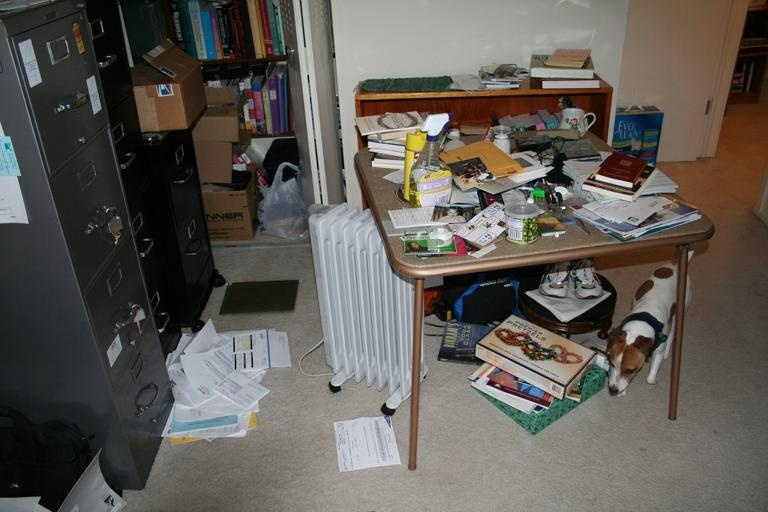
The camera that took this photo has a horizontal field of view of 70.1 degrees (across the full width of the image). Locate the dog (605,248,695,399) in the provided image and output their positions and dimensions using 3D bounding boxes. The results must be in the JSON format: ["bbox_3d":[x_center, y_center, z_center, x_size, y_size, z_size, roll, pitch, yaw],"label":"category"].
[{"bbox_3d":[1.415,0.394,2.905,0.179,0.356,0.796,14,64,41],"label":"dog"}]

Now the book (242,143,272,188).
[{"bbox_3d":[-1.015,-0.696,4.353,0.100,0.368,0.261,-28,14,21],"label":"book"}]

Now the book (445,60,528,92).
[{"bbox_3d":[0.675,-1.134,3.498,0.510,0.113,0.421,0,27,6],"label":"book"}]

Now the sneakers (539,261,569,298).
[{"bbox_3d":[0.985,0.143,3.153,0.127,0.213,0.081,11,-2,15],"label":"sneakers"}]

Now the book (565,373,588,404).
[{"bbox_3d":[0.964,0.669,2.829,0.155,0.150,0.039,-8,19,-38],"label":"book"}]

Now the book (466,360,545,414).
[{"bbox_3d":[0.660,0.696,2.847,0.247,0.057,0.247,23,23,17],"label":"book"}]

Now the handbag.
[{"bbox_3d":[0.554,0.230,3.122,0.321,0.283,0.113,-5,37,-1],"label":"handbag"}]

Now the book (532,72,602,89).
[{"bbox_3d":[1.125,-1.056,3.375,0.428,0.075,0.125,1,27,9],"label":"book"}]

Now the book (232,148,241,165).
[{"bbox_3d":[-1.138,-0.761,4.230,0.110,0.134,0.040,0,-2,-29],"label":"book"}]
